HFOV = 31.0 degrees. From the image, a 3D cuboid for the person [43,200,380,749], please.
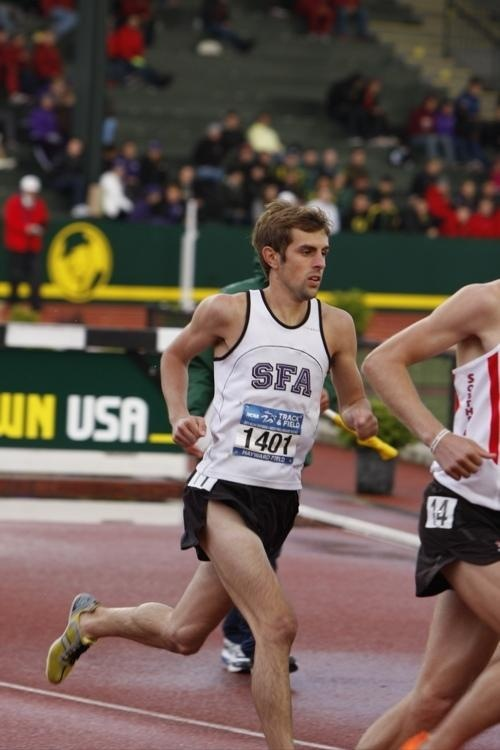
[{"bbox_3d":[0.026,0.295,2.744,0.563,1.188,1.152,5,3,-36],"label":"person"}]
